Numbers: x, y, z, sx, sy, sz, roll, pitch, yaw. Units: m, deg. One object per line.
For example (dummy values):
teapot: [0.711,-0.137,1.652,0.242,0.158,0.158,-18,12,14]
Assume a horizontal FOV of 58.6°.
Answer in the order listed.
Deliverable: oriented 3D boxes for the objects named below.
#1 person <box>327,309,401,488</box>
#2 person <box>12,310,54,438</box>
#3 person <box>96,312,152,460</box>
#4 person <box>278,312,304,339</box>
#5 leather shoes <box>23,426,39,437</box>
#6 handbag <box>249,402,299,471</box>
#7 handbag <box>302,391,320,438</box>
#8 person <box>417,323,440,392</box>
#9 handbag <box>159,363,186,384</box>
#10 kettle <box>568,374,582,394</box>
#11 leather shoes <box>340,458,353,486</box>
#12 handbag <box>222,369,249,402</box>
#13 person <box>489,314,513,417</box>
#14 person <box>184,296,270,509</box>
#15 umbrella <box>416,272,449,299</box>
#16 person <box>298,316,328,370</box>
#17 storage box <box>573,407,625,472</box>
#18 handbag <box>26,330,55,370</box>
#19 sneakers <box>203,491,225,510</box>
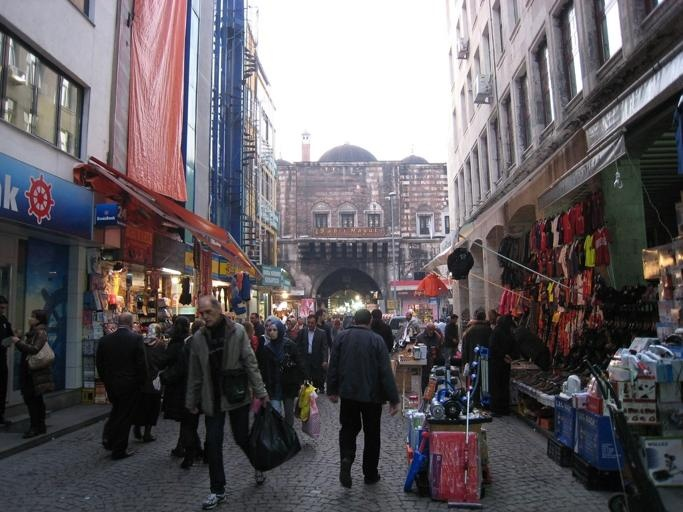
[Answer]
person: [0.290,1.986,8.742,0.899,2.423,0.818,-1,2,-20]
person: [-5.459,2.078,10.830,0.548,2.168,0.621,1,3,45]
person: [-3.606,2.217,9.893,0.774,1.975,0.592,-1,2,-3]
person: [-1.450,2.066,18.111,0.825,1.346,0.622,1,-7,-14]
leather shoes: [-5.425,3.066,10.616,0.176,0.138,0.212,-1,2,2]
handbag: [-0.942,2.464,8.539,0.657,1.026,0.395,-6,-26,-33]
handbag: [-0.498,2.585,9.994,0.266,0.716,0.295,-1,2,-5]
person: [2.136,2.514,14.695,0.562,1.956,0.549,-7,17,-8]
handbag: [-2.461,1.742,8.947,0.477,0.194,0.399,-5,-34,25]
kettle: [3.460,1.913,9.028,0.176,0.282,0.418,0,3,19]
leather shoes: [0.068,2.974,8.366,0.143,0.380,0.235,-1,-9,1]
handbag: [-1.443,1.740,8.197,0.395,0.564,0.266,0,-1,-44]
person: [3.222,2.197,12.290,0.499,1.957,0.376,-1,2,1]
person: [-1.602,1.894,8.297,1.024,2.689,0.755,-1,2,-15]
umbrella: [3.453,1.111,23.103,0.995,1.005,2.903,0,3,9]
person: [-0.611,2.112,13.758,0.729,1.542,0.597,0,2,18]
storage box: [3.582,2.419,8.608,0.500,1.015,0.942,1,-9,-1]
handbag: [-5.304,1.603,10.794,0.330,0.741,0.642,-11,-9,23]
sneakers: [-1.672,3.192,7.939,0.115,0.161,0.337,-1,-12,34]
